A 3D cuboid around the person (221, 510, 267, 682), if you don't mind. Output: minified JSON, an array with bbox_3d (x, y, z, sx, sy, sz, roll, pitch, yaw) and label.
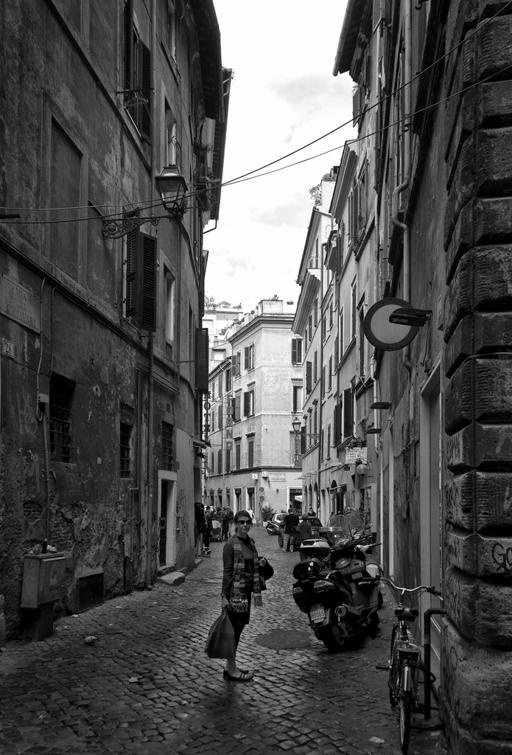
[{"bbox_3d":[-0.102,1.813,7.704,0.358,1.452,1.063,-1,-10,-2],"label":"person"}]

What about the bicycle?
[{"bbox_3d":[0.926,1.795,5.568,0.260,0.765,1.046,1,-7,4],"label":"bicycle"}]

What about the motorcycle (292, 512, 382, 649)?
[{"bbox_3d":[0.872,2.203,9.307,0.841,1.161,1.506,-6,-12,19],"label":"motorcycle"}]

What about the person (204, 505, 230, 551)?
[{"bbox_3d":[-1.441,5.961,35.224,0.606,1.622,1.950,1,-4,5],"label":"person"}]
